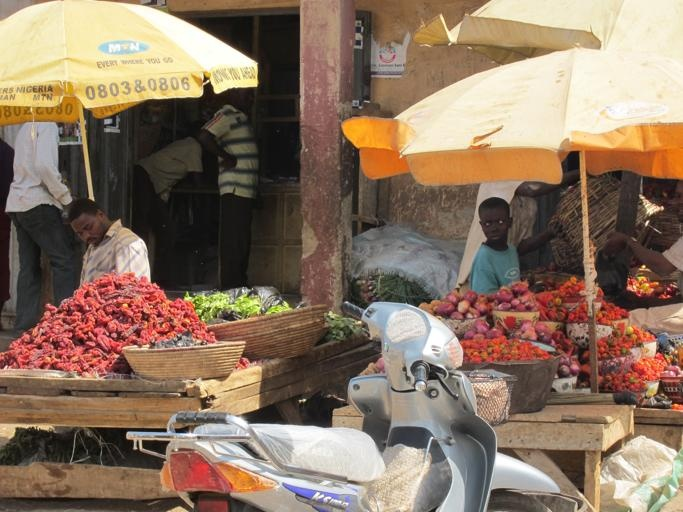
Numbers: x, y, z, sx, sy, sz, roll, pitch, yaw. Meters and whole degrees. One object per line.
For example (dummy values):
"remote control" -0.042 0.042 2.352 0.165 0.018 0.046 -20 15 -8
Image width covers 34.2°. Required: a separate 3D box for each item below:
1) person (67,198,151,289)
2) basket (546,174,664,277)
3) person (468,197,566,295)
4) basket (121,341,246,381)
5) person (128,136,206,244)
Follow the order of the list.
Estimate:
"person" -1.836 -0.140 8.856 0.525 0.795 0.528 2 13 0
"basket" 2.461 -0.252 10.732 0.840 0.458 0.976 -19 17 34
"person" 1.494 -0.085 9.490 0.612 0.810 0.659 6 11 18
"basket" -1.039 0.695 7.634 0.718 0.262 0.798 -2 4 0
"person" -1.881 -0.794 12.139 0.641 1.233 0.626 5 12 17
